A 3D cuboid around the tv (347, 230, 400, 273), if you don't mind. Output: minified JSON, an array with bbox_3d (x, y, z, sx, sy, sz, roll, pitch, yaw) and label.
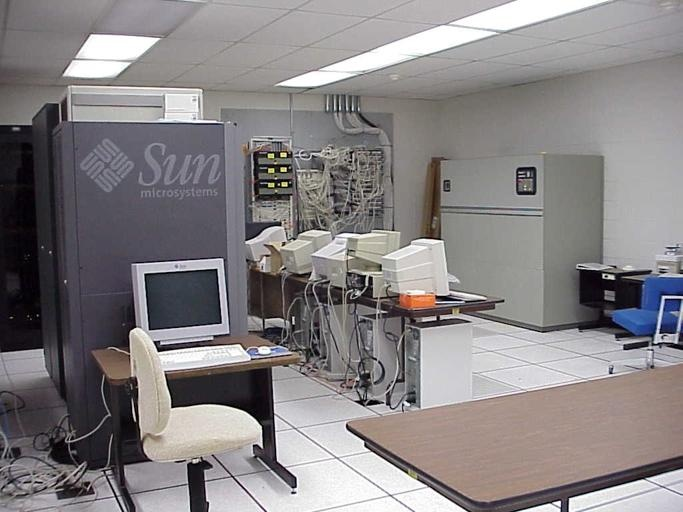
[{"bbox_3d":[0.286,-0.042,4.878,0.459,0.365,0.406,3,4,-14],"label":"tv"}]

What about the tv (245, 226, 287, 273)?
[{"bbox_3d":[-0.942,-0.122,6.875,0.609,0.485,0.538,1,-3,-26],"label":"tv"}]

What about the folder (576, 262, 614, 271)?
[{"bbox_3d":[3.247,0.153,6.519,0.215,0.088,0.512,-4,7,-26],"label":"folder"}]

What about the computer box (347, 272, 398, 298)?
[{"bbox_3d":[0.265,0.193,4.562,0.257,0.150,0.328,-4,9,-31],"label":"computer box"}]

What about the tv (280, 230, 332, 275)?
[{"bbox_3d":[-0.439,-0.077,5.805,0.582,0.396,0.435,-25,15,-32],"label":"tv"}]

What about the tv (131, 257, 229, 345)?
[{"bbox_3d":[-1.110,0.311,3.450,0.603,0.511,0.308,-3,-5,-31],"label":"tv"}]

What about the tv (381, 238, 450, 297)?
[{"bbox_3d":[0.615,0.099,4.383,0.485,0.387,0.428,-10,9,-27],"label":"tv"}]

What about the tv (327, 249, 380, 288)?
[{"bbox_3d":[0.110,0.106,4.842,0.395,0.272,0.373,3,7,26],"label":"tv"}]

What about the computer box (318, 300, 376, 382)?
[{"bbox_3d":[0.164,0.828,5.224,0.791,0.881,0.553,-3,7,-15],"label":"computer box"}]

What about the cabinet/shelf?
[{"bbox_3d":[3.416,0.525,6.461,0.861,1.067,0.860,-1,3,-20],"label":"cabinet/shelf"}]
